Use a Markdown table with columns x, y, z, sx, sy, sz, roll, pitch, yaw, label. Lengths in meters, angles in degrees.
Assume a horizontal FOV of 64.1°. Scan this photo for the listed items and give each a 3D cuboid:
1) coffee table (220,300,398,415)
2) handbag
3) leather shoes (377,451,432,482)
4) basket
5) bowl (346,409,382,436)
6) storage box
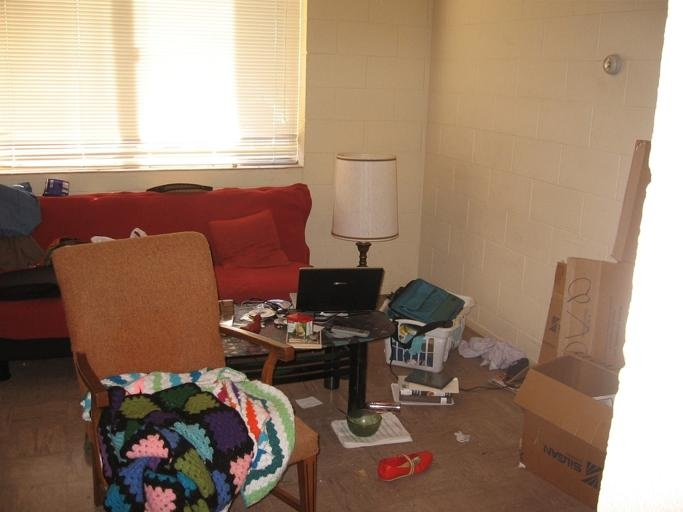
| x | y | z | sx | sy | sz | roll | pitch | yaw | label |
| --- | --- | --- | --- | --- | --- | --- | --- | --- | --- |
| -0.077 | 0.512 | 2.600 | 0.844 | 0.396 | 0.548 | -1 | 14 | -9 | coffee table |
| 0.561 | 0.353 | 3.637 | 0.549 | 0.126 | 0.543 | 5 | 28 | 7 | handbag |
| 0.294 | 0.945 | 2.512 | 0.250 | 0.081 | 0.099 | -8 | 19 | -26 | leather shoes |
| 0.566 | 0.486 | 3.577 | 0.447 | 0.241 | 0.535 | 3 | 8 | 24 | basket |
| 0.114 | 0.815 | 2.704 | 0.143 | 0.070 | 0.138 | -2 | 4 | 0 | bowl |
| 1.034 | 0.747 | 2.474 | 0.406 | 0.522 | 0.531 | 11 | 22 | 37 | storage box |
